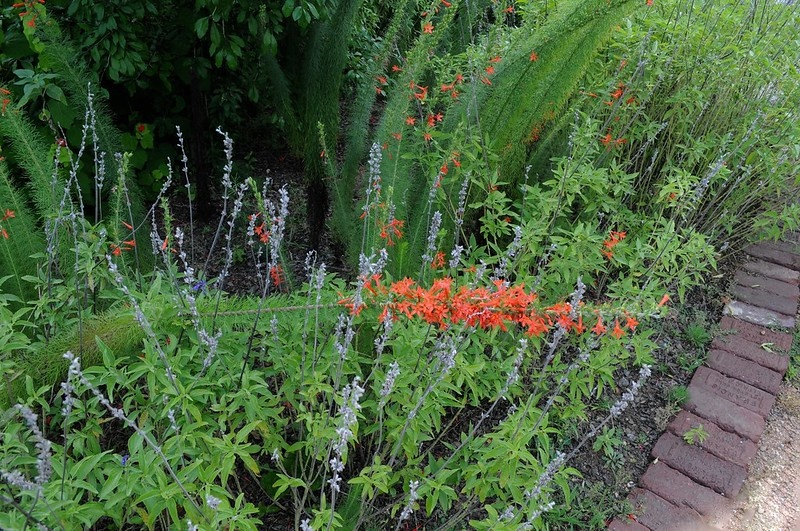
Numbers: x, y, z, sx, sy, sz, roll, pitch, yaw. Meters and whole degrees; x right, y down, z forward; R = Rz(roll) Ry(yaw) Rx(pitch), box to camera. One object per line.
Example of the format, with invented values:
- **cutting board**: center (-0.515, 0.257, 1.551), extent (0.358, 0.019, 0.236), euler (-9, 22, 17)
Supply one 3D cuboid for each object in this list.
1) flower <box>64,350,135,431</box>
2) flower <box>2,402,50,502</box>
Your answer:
- **flower**: center (-1.208, 0.492, 2.449), extent (0.454, 0.078, 0.075), euler (54, 12, -13)
- **flower**: center (-1.416, 0.711, 2.305), extent (0.178, 0.444, 0.168), euler (-12, 45, -42)
